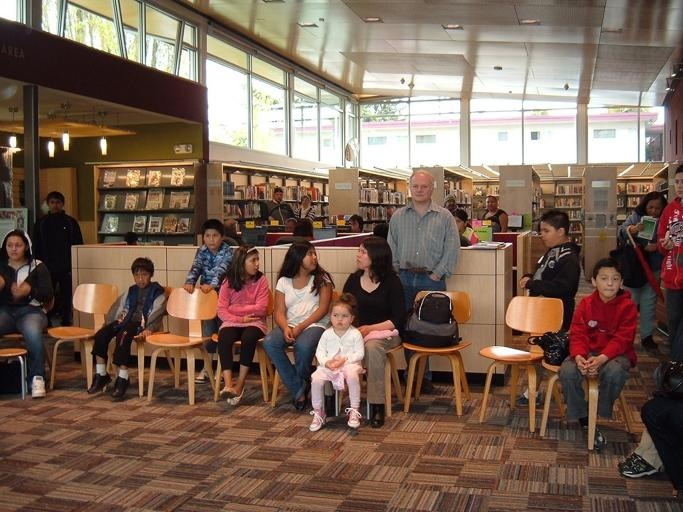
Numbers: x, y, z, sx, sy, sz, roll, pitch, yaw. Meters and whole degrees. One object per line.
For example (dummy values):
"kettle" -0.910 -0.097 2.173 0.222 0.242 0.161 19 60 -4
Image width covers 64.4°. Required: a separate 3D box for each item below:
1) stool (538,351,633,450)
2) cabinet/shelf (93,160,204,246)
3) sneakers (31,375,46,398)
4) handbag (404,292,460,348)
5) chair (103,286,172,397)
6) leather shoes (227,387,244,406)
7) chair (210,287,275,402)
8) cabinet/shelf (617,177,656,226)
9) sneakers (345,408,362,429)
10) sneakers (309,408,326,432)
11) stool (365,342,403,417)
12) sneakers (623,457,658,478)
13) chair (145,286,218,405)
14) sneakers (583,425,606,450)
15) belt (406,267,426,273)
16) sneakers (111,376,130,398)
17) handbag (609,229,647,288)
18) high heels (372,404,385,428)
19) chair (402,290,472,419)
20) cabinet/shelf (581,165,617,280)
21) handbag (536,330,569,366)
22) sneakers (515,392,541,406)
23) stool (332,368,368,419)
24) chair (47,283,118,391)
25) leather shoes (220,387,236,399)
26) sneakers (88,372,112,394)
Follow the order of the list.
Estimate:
"stool" 1.649 0.984 3.743 0.560 0.469 0.580 -5 -4 11
"cabinet/shelf" -3.823 -0.875 10.687 2.023 1.844 0.548 -5 13 -38
"sneakers" -2.681 1.168 4.826 0.124 0.178 0.123 -2 5 -16
"handbag" 0.717 0.465 4.447 0.428 0.419 0.413 5 9 -17
"chair" -1.943 0.688 4.966 0.587 1.055 0.740 -1 -2 13
"leather shoes" -0.888 1.179 4.588 0.077 0.080 0.215 8 16 1
"chair" -0.838 0.771 4.832 0.524 0.832 0.553 -1 13 -6
"cabinet/shelf" 8.343 -1.707 16.159 1.463 1.466 0.469 4 -9 1
"sneakers" 0.098 1.214 4.097 0.100 0.153 0.153 -1 5 0
"sneakers" -0.179 1.219 4.136 0.111 0.144 0.259 -1 5 3
"stool" 0.314 0.952 4.290 0.323 0.392 0.343 -3 -17 15
"sneakers" 1.744 1.266 3.225 0.189 0.088 0.105 3 0 5
"chair" -1.380 0.760 4.774 0.553 0.863 0.593 2 4 -1
"sneakers" 1.710 1.238 3.710 0.069 0.192 0.083 -26 -47 19
"belt" 0.668 0.129 4.824 0.161 0.037 0.031 1 5 18
"sneakers" -1.949 1.163 4.809 0.100 0.113 0.261 5 5 1
"handbag" 2.955 0.040 5.597 0.234 0.616 0.593 -3 14 0
"high heels" 0.277 1.200 4.159 0.113 0.155 0.217 -1 5 4
"chair" 0.777 0.763 4.447 0.510 0.888 0.627 1 4 23
"cabinet/shelf" 6.068 -0.854 12.730 0.699 2.523 0.920 1 23 28
"handbag" 1.485 0.650 3.890 0.175 0.224 0.212 13 3 -28
"sneakers" 1.577 1.199 4.542 0.254 0.112 0.093 1 -1 -7
"stool" 0.043 0.995 4.105 0.229 0.376 0.157 1 5 18
"chair" -2.517 0.772 5.263 0.588 0.891 0.564 -9 4 -14
"leather shoes" -0.927 1.147 4.532 0.132 0.065 0.089 -14 39 24
"sneakers" -2.193 1.168 4.951 0.090 0.107 0.244 1 9 11
